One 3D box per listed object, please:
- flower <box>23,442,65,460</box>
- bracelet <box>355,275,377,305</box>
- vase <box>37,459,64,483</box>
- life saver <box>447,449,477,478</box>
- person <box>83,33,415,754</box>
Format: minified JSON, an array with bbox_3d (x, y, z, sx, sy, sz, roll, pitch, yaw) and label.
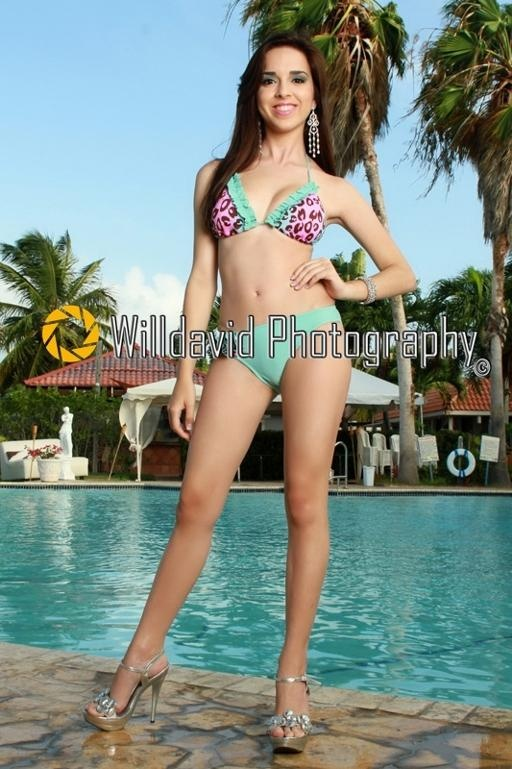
[{"bbox_3d":[-6.164,2.013,18.243,0.650,0.277,0.706,0,3,33],"label":"flower"},{"bbox_3d":[0.323,-0.261,1.716,0.071,0.072,0.070,-10,0,-13],"label":"bracelet"},{"bbox_3d":[-5.849,2.400,17.549,0.708,0.611,0.698,1,0,-36],"label":"vase"},{"bbox_3d":[5.795,2.256,17.516,0.861,0.884,0.258,5,-5,7],"label":"life saver"},{"bbox_3d":[0.012,-0.034,1.606,0.761,1.827,0.367,2,-4,8],"label":"person"}]
